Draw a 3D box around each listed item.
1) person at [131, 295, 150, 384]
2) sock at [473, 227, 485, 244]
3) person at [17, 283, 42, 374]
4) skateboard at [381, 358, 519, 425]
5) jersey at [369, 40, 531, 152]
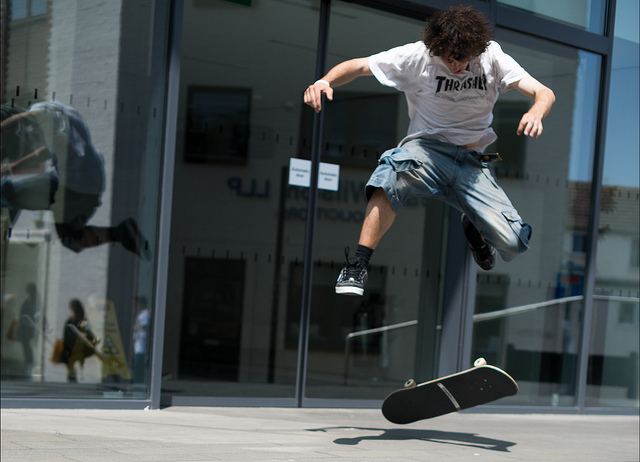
[{"bbox_3d":[-1.725,1.029,9.566,0.166,0.829,0.124,3,6,-11],"label":"person"},{"bbox_3d":[1.453,0.047,9.208,0.113,0.145,0.061,5,6,9],"label":"sock"},{"bbox_3d":[-2.722,0.896,9.377,0.166,0.820,0.129,5,6,9],"label":"person"},{"bbox_3d":[1.073,1.397,8.579,1.342,0.485,0.201,-15,34,15],"label":"skateboard"},{"bbox_3d":[1.097,-1.183,8.662,1.353,0.914,0.944,3,2,15],"label":"jersey"}]
